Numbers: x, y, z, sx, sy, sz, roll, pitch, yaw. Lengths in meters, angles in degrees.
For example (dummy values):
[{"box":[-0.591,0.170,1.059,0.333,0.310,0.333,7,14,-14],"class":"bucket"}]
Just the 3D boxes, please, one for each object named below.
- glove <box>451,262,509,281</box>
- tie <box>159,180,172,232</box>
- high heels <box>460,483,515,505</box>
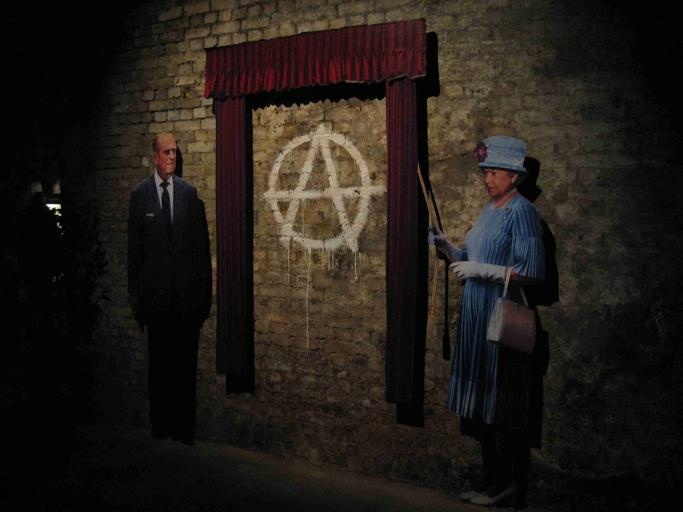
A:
[{"box":[1.247,0.108,7.421,0.631,0.211,0.174,4,2,38],"class":"glove"},{"box":[-1.862,-0.524,8.534,0.153,0.421,0.054,3,-2,23],"class":"tie"},{"box":[1.370,2.203,7.610,0.360,0.115,0.208,1,-4,6],"class":"high heels"}]
